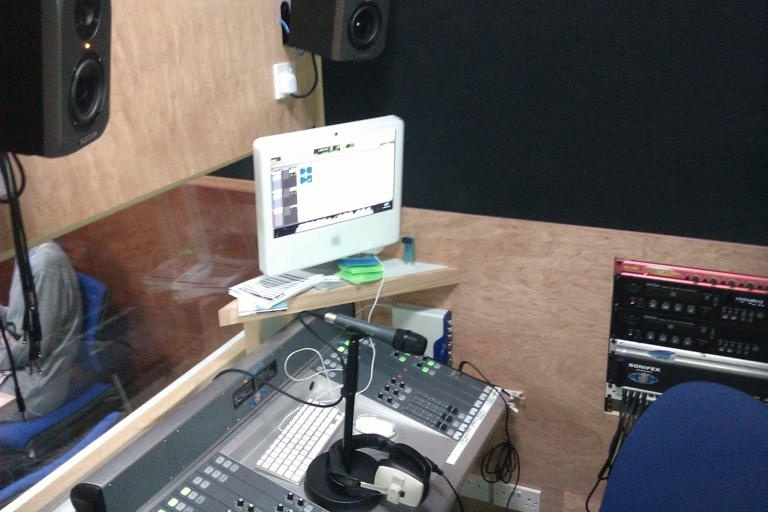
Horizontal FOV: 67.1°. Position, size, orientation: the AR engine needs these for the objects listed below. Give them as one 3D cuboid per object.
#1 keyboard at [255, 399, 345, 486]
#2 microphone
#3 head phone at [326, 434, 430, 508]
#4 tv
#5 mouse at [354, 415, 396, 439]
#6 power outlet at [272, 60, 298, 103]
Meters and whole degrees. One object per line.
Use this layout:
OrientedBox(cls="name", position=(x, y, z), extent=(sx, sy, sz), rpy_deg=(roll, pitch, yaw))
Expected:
OrientedBox(cls="keyboard", position=(-0.303, 0.683, 2.167), extent=(0.191, 0.231, 0.249), rpy_deg=(17, -10, 15))
OrientedBox(cls="microphone", position=(-0.084, 0.311, 2.299), extent=(0.513, 0.101, 0.107), rpy_deg=(13, 36, 12))
OrientedBox(cls="head phone", position=(-0.017, 0.754, 2.004), extent=(0.275, 0.116, 0.242), rpy_deg=(20, 26, 15))
OrientedBox(cls="tv", position=(-0.223, -0.241, 2.305), extent=(0.606, 0.523, 0.200), rpy_deg=(-16, 31, -30))
OrientedBox(cls="mouse", position=(-0.036, 0.656, 2.242), extent=(0.110, 0.025, 0.076), rpy_deg=(10, 19, 12))
OrientedBox(cls="power outlet", position=(-0.422, -0.751, 2.461), extent=(0.037, 0.142, 0.156), rpy_deg=(8, 16, 33))
